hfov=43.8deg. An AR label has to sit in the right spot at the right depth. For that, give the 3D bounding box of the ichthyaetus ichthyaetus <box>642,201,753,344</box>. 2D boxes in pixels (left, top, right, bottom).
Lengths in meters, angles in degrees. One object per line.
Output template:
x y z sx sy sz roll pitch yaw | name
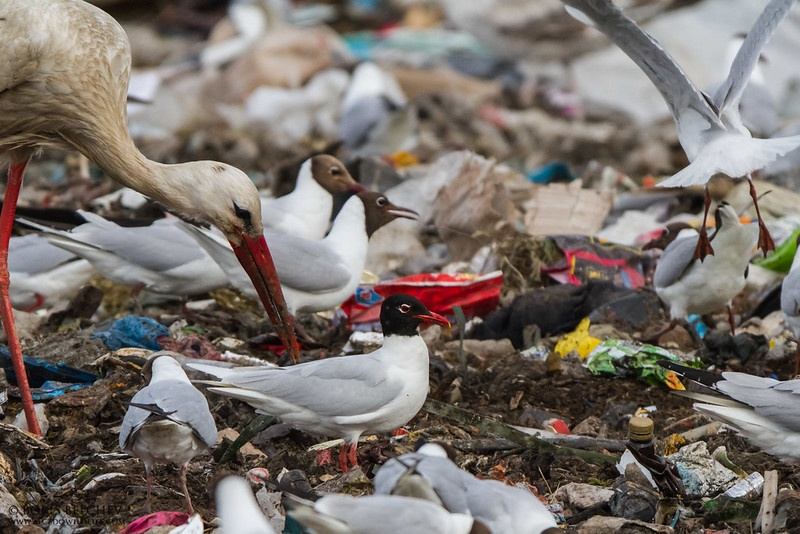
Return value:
2.441 0.036 7.869 0.760 0.755 1.276 6 -18 -21 | ichthyaetus ichthyaetus
